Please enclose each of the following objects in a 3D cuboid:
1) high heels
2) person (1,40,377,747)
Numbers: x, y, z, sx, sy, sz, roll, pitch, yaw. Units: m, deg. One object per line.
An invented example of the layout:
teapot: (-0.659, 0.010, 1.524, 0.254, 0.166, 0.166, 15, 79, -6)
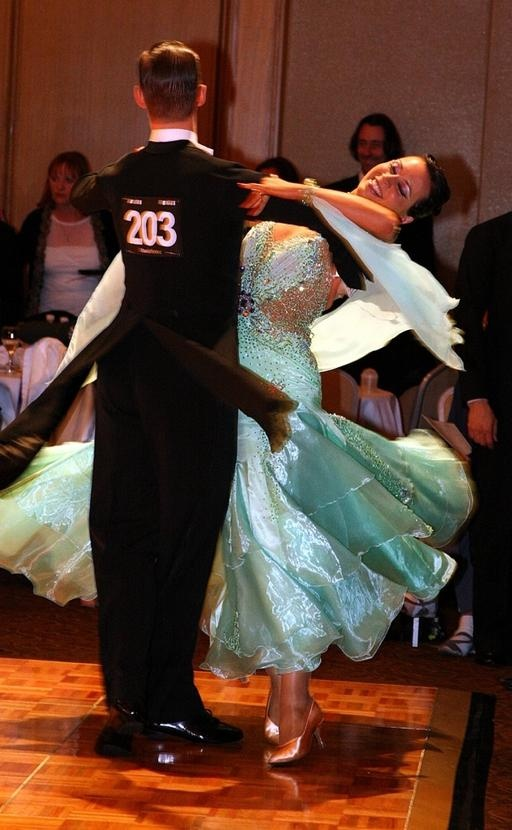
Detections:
high heels: (0.086, 0.721, 1.633, 0.081, 0.117, 0.240, -15, -6, 31)
person: (-0.245, 0.006, 1.456, 0.630, 1.453, 0.551, 4, -8, -5)
